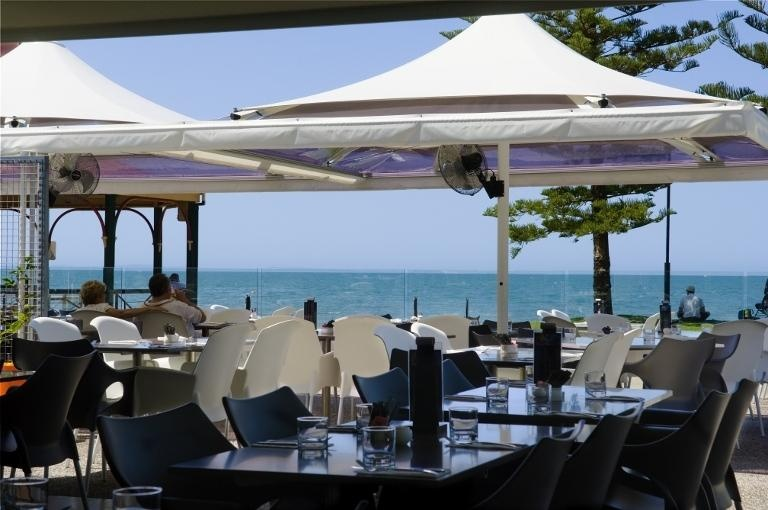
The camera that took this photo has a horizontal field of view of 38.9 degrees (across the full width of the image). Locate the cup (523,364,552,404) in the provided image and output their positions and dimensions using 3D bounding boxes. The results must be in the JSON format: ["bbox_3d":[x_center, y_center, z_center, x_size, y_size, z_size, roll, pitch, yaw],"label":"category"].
[{"bbox_3d":[1.063,0.916,7.530,0.170,0.237,0.272,-1,-2,7],"label":"cup"}]

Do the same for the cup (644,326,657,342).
[{"bbox_3d":[2.612,0.797,10.727,0.119,0.214,0.121,-1,-3,0],"label":"cup"}]

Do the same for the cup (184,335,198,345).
[{"bbox_3d":[-1.802,0.794,9.992,0.089,0.091,0.089,2,4,0],"label":"cup"}]

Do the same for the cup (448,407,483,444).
[{"bbox_3d":[0.489,1.062,6.807,0.197,0.215,0.194,-1,5,0],"label":"cup"}]

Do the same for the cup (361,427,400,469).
[{"bbox_3d":[-0.035,1.136,6.370,0.214,0.248,0.218,0,-5,0],"label":"cup"}]

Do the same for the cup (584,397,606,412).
[{"bbox_3d":[1.442,1.043,7.470,0.073,0.090,0.088,5,-9,-40],"label":"cup"}]

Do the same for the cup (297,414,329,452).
[{"bbox_3d":[-0.453,1.090,6.646,0.196,0.214,0.223,2,0,0],"label":"cup"}]

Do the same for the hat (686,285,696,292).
[{"bbox_3d":[5.923,0.669,20.935,0.175,0.185,0.183,2,-4,1],"label":"hat"}]

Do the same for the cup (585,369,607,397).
[{"bbox_3d":[1.499,0.920,7.734,0.172,0.191,0.152,-1,-2,8],"label":"cup"}]

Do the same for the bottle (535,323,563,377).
[{"bbox_3d":[1.145,0.690,7.699,0.196,0.402,0.394,-1,-2,8],"label":"bottle"}]

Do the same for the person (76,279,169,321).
[{"bbox_3d":[-2.862,0.490,11.948,1.060,0.392,0.802,-3,-1,-14],"label":"person"}]

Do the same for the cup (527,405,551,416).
[{"bbox_3d":[1.045,1.049,7.358,0.157,0.061,0.132,-1,-2,9],"label":"cup"}]

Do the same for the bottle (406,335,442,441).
[{"bbox_3d":[0.253,0.843,6.871,0.199,0.634,0.134,0,-2,-3],"label":"bottle"}]

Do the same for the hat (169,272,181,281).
[{"bbox_3d":[-3.086,0.322,15.851,0.127,0.162,0.137,0,-11,3],"label":"hat"}]

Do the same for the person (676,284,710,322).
[{"bbox_3d":[6.069,0.990,21.518,0.605,0.743,0.485,-1,8,13],"label":"person"}]

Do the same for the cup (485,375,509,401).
[{"bbox_3d":[0.762,0.935,7.513,0.173,0.168,0.155,-1,-2,19],"label":"cup"}]

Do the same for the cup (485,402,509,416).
[{"bbox_3d":[0.760,1.041,7.405,0.119,0.092,0.069,-2,-8,9],"label":"cup"}]

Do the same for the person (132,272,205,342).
[{"bbox_3d":[-2.570,0.610,12.753,0.529,1.179,0.411,2,36,9],"label":"person"}]
